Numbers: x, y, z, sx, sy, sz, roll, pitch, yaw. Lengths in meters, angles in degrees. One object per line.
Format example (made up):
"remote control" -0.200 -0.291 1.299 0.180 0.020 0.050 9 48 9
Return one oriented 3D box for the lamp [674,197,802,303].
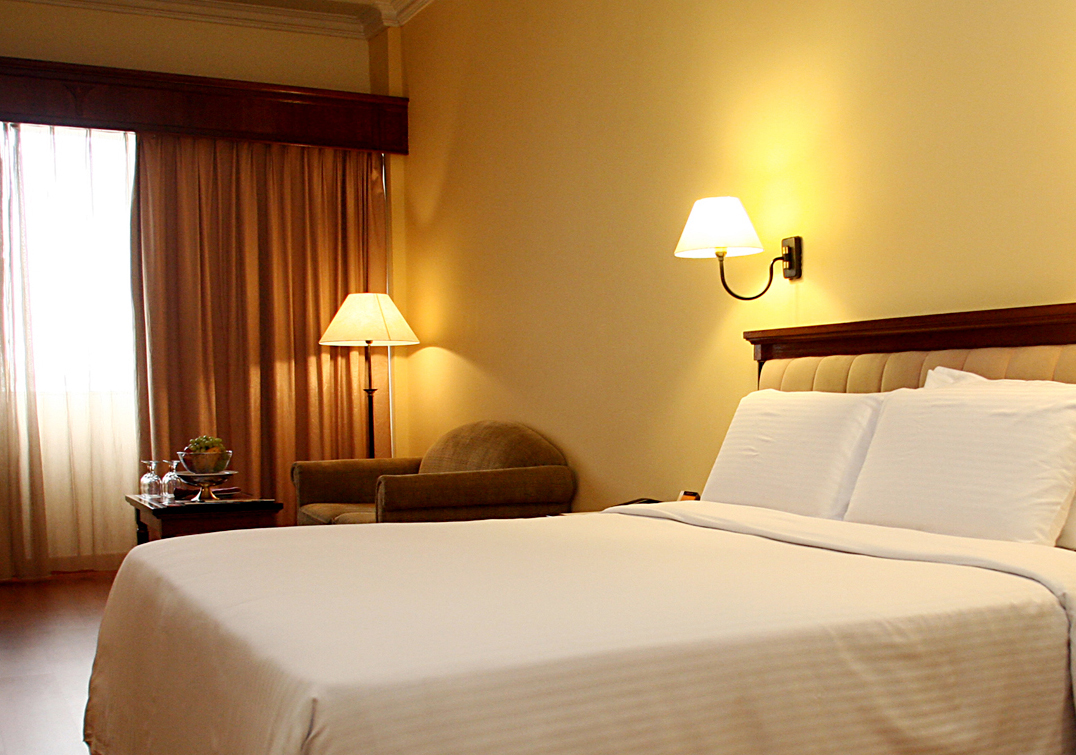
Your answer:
"lamp" 0.875 -0.580 3.944 0.620 0.491 0.378 1 -6 -28
